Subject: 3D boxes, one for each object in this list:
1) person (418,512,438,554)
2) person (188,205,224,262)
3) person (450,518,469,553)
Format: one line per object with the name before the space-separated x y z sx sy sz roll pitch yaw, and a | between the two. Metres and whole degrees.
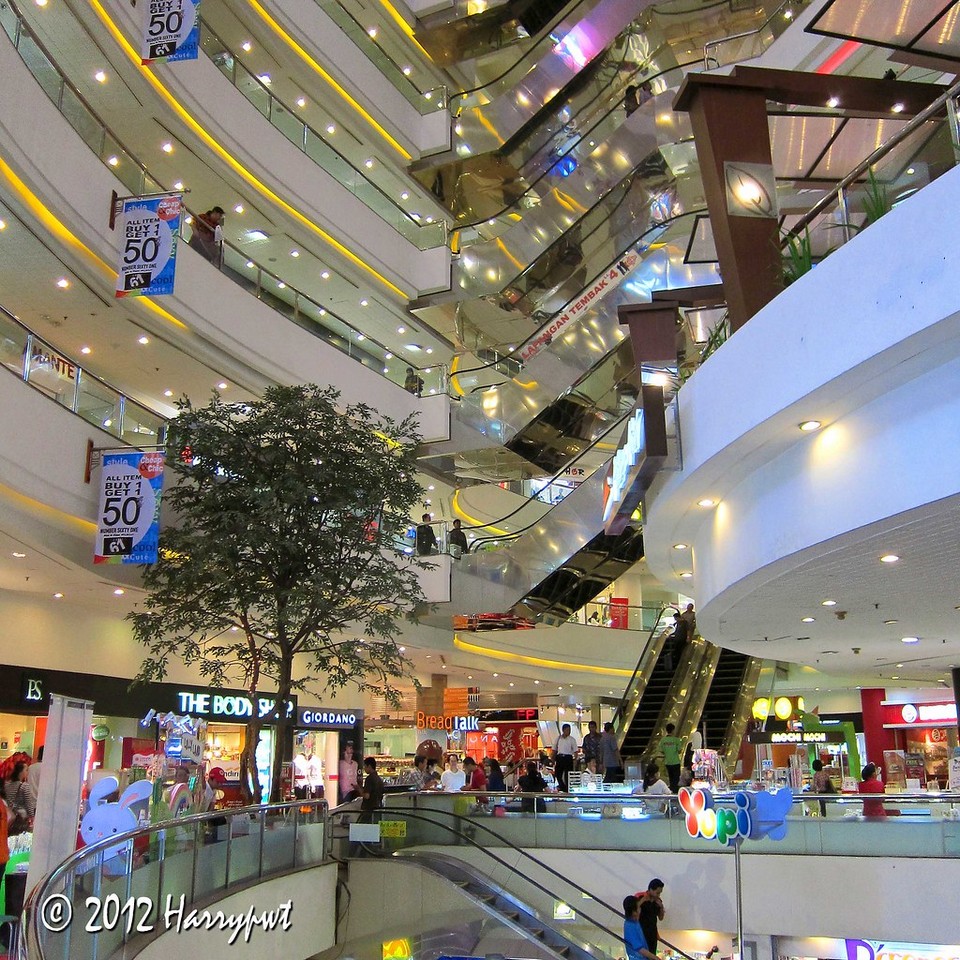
person | -1.054 1.135 14.647 0.339 0.864 0.462 -4 -18 15
person | -4.533 -4.105 12.461 0.498 1.152 0.767 6 -18 -18
person | -0.494 1.163 15.369 0.469 0.771 0.376 10 -20 -29
